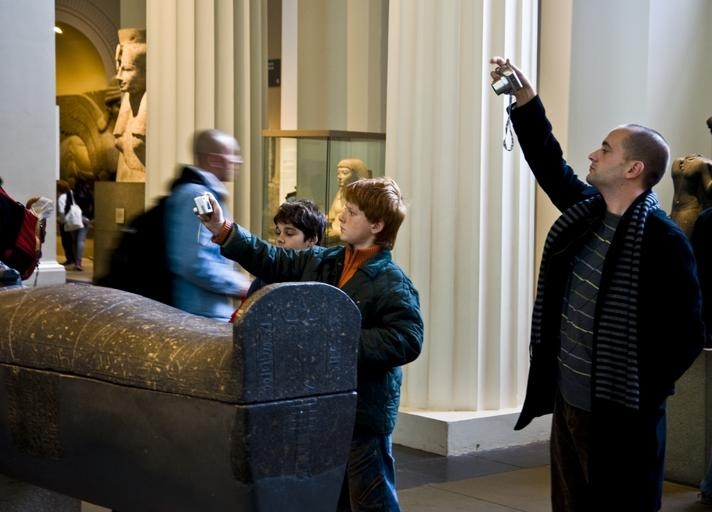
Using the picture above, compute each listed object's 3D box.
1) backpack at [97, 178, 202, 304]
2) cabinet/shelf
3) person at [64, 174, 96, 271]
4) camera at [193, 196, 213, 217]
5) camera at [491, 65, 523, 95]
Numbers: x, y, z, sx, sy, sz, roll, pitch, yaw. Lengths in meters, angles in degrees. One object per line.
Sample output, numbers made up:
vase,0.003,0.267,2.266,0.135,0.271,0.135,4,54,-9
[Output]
backpack,-1.044,-0.137,3.572,0.374,0.756,0.376,0,-2,13
cabinet/shelf,-0.322,-0.634,6.084,0.552,0.920,0.621,1,16,1
person,-4.972,-0.656,13.009,0.403,1.737,0.448,11,25,-2
camera,-0.501,-0.163,2.407,0.047,0.071,0.110,1,9,-15
camera,0.614,-0.717,3.020,0.099,0.157,0.085,-14,-32,3
